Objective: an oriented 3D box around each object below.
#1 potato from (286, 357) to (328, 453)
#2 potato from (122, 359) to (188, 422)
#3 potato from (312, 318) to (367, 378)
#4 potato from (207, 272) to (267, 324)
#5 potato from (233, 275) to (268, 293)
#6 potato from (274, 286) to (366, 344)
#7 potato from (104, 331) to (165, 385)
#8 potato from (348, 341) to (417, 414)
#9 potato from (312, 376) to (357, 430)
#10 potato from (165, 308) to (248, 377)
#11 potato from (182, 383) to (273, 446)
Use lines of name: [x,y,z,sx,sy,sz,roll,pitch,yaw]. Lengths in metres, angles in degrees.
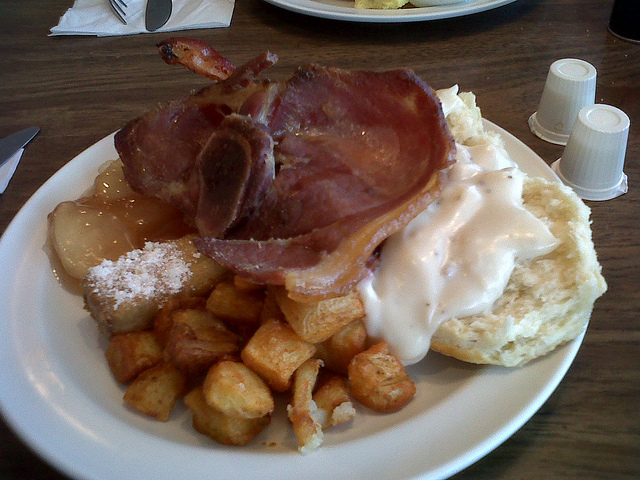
potato: [-0.030,0.400,1.407,0.091,0.096,0.238,-7,53,3]
potato: [-0.387,0.364,1.432,0.176,0.043,0.149,-36,79,-25]
potato: [0.043,0.264,1.571,0.224,0.134,0.136,-4,30,-14]
potato: [-0.211,0.157,1.525,0.172,0.043,0.121,16,65,-11]
potato: [-0.188,0.122,1.552,0.078,0.064,0.015,7,61,-13]
potato: [0.008,0.186,1.422,0.200,0.050,0.166,-30,86,-11]
potato: [-0.477,0.293,1.463,0.175,0.051,0.116,-30,74,-18]
potato: [0.142,0.342,1.423,0.137,0.070,0.153,-21,55,-9]
potato: [0.036,0.413,1.408,0.124,0.035,0.098,-23,64,-3]
potato: [-0.289,0.262,1.452,0.236,0.097,0.180,-14,23,-27]
potato: [-0.214,0.416,1.369,0.190,0.088,0.217,-15,27,-41]
